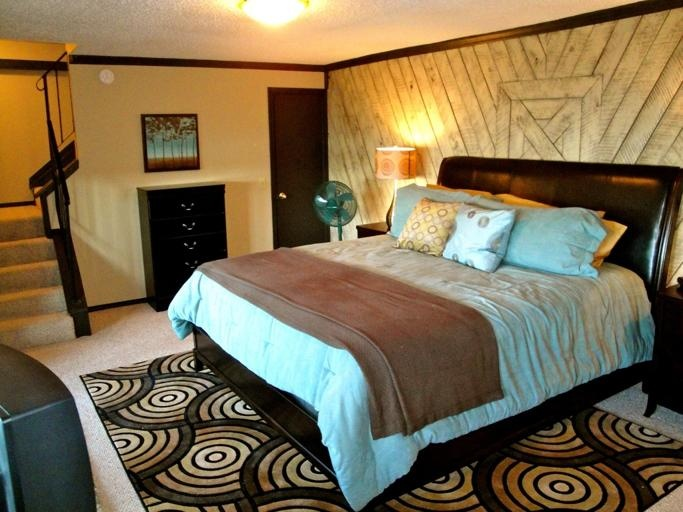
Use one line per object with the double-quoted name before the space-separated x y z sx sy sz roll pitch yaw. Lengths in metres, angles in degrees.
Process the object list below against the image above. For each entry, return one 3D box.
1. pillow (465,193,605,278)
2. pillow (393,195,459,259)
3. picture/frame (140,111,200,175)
"pillow" 1.455 -0.115 3.431 0.622 0.426 0.348 9 19 25
"pillow" 0.697 -0.231 3.872 0.140 0.421 0.453 29 -3 -28
"picture/frame" -1.878 -1.229 5.390 0.700 0.629 0.066 -10 16 -37
